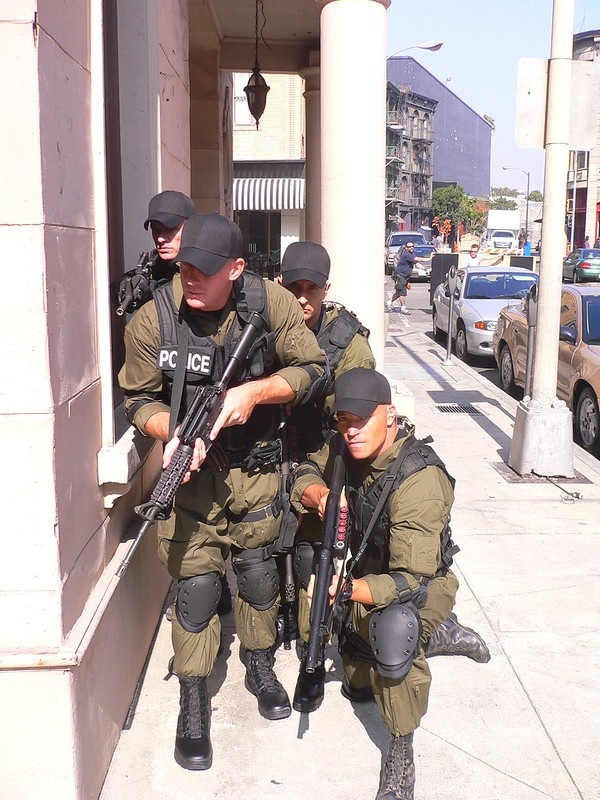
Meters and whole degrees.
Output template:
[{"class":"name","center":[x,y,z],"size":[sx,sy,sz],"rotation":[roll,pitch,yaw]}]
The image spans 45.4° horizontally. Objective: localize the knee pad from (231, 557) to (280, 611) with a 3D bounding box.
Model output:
[{"class":"knee pad","center":[-0.168,0.721,2.825],"size":[0.126,0.255,0.137],"rotation":[-10,7,-5]}]

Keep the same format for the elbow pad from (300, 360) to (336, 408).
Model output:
[{"class":"elbow pad","center":[0.085,-0.058,2.847],"size":[0.092,0.191,0.120],"rotation":[34,-14,-32]}]

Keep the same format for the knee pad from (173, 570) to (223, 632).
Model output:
[{"class":"knee pad","center":[-0.364,0.756,2.660],"size":[0.161,0.097,0.246],"rotation":[-15,21,-10]}]

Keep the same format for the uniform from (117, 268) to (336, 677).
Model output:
[{"class":"uniform","center":[-0.251,0.278,2.735],"size":[0.612,2.101,0.614],"rotation":[-16,32,-24]}]

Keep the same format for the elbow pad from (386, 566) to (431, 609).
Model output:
[{"class":"elbow pad","center":[0.358,0.594,2.273],"size":[0.074,0.139,0.085],"rotation":[-1,-6,-20]}]

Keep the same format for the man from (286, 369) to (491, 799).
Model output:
[{"class":"man","center":[0.336,0.466,2.863],"size":[0.673,1.704,1.126],"rotation":[5,15,33]}]

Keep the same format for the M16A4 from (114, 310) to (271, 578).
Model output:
[{"class":"M16A4","center":[-0.357,0.151,2.525],"size":[0.109,1.109,0.266],"rotation":[10,-24,16]}]

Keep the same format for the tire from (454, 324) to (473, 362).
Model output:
[{"class":"tire","center":[3.111,-1.081,13.533],"size":[0.176,0.788,0.644],"rotation":[-1,1,-7]}]

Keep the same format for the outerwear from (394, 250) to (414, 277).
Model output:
[{"class":"outerwear","center":[2.889,-3.814,20.003],"size":[0.471,0.832,0.568],"rotation":[-1,7,-18]}]

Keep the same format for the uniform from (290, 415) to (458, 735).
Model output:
[{"class":"uniform","center":[0.325,0.659,2.503],"size":[0.415,1.010,0.639],"rotation":[-2,18,3]}]

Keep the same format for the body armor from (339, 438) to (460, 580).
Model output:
[{"class":"body armor","center":[0.340,0.330,2.723],"size":[0.355,0.765,0.523],"rotation":[2,3,-4]}]

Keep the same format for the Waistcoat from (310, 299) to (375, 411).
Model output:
[{"class":"Waistcoat","center":[0.189,-0.237,3.224],"size":[0.249,0.506,0.419],"rotation":[1,-6,0]}]

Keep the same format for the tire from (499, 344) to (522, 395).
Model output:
[{"class":"tire","center":[3.186,-0.459,10.767],"size":[0.164,0.664,0.549],"rotation":[-2,12,-10]}]

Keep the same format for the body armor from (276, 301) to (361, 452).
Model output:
[{"class":"body armor","center":[0.095,-0.114,3.094],"size":[0.190,0.590,0.358],"rotation":[13,9,-42]}]

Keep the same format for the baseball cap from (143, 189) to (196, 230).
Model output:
[{"class":"baseball cap","center":[-0.587,-0.855,3.305],"size":[0.172,0.208,0.299],"rotation":[6,21,16]}]

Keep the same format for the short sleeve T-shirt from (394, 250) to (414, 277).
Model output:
[{"class":"short sleeve T-shirt","center":[2.914,-3.805,19.944],"size":[0.520,0.832,0.413],"rotation":[-4,8,-39]}]

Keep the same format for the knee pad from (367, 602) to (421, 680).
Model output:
[{"class":"knee pad","center":[0.293,0.712,2.266],"size":[0.137,0.330,0.076],"rotation":[7,14,12]}]

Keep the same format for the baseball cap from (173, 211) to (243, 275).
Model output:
[{"class":"baseball cap","center":[-0.295,-0.504,2.335],"size":[0.186,0.220,0.322],"rotation":[11,9,21]}]

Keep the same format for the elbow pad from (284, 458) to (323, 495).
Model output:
[{"class":"elbow pad","center":[0.009,0.348,2.900],"size":[0.123,0.116,0.123],"rotation":[15,34,42]}]

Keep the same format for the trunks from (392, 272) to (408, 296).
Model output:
[{"class":"trunks","center":[2.855,-3.327,20.290],"size":[0.313,0.597,0.796],"rotation":[3,54,0]}]

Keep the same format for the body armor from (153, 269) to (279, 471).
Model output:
[{"class":"body armor","center":[-0.291,-0.113,2.426],"size":[0.382,0.890,0.418],"rotation":[-9,14,-23]}]
